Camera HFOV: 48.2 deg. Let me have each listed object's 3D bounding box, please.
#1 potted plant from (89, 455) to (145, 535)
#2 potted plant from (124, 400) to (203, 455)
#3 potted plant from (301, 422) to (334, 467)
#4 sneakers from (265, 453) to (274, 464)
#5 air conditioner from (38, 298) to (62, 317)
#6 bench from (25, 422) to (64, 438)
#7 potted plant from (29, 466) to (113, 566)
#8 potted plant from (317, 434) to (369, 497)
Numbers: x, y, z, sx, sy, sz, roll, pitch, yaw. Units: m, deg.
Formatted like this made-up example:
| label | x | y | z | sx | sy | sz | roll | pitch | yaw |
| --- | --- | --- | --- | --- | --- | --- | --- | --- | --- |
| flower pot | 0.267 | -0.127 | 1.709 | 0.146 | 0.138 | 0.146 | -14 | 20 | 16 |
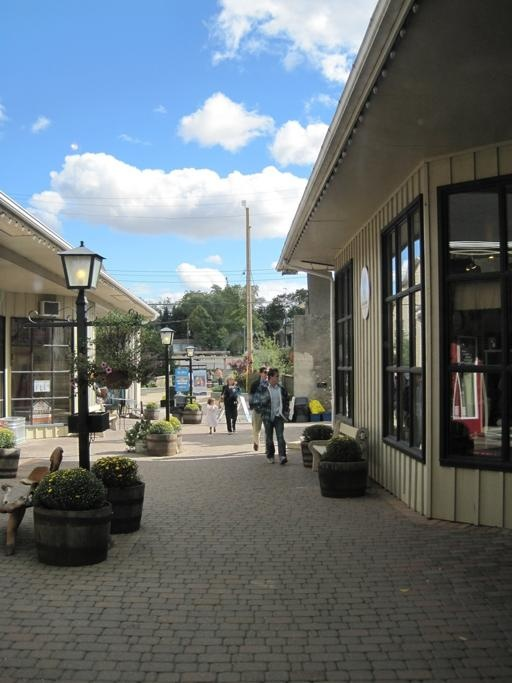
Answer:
| label | x | y | z | sx | sy | sz | roll | pitch | yaw |
| --- | --- | --- | --- | --- | --- | --- | --- | --- | --- |
| potted plant | -1.284 | 1.452 | 5.544 | 0.601 | 0.751 | 0.637 | 2 | -6 | -20 |
| potted plant | -2.285 | 2.011 | 12.847 | 1.387 | 0.886 | 2.023 | 2 | -5 | -12 |
| potted plant | 0.946 | 1.753 | 9.790 | 0.676 | 0.759 | 0.652 | -4 | -6 | 33 |
| sneakers | 0.253 | 2.124 | 10.458 | 0.154 | 0.186 | 0.447 | 1 | -10 | -8 |
| air conditioner | -5.436 | -0.905 | 14.951 | 0.361 | 0.530 | 0.652 | 3 | 3 | 34 |
| bench | -5.632 | 2.388 | 15.303 | 1.187 | 0.336 | 0.389 | 1 | 10 | -36 |
| potted plant | -1.450 | 1.367 | 4.468 | 0.591 | 0.679 | 0.438 | 1 | -6 | -14 |
| potted plant | 1.061 | 1.541 | 7.207 | 0.679 | 0.809 | 0.672 | 4 | -7 | -40 |
